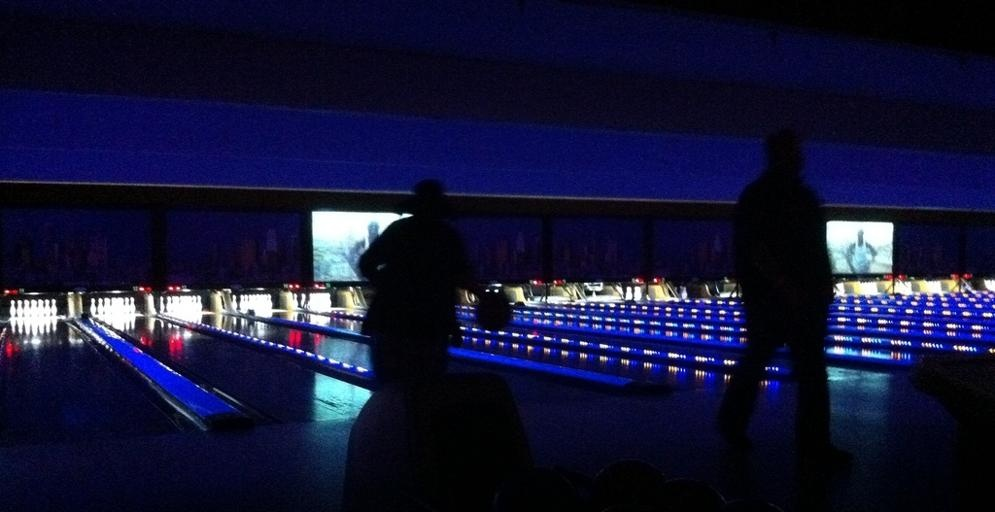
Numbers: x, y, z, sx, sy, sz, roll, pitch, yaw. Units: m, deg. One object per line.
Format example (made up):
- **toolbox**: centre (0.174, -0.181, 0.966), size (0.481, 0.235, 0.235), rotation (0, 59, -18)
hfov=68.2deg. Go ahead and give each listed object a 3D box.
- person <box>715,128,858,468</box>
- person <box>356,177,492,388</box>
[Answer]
- **person**: centre (1.945, 0.258, 4.971), size (0.815, 2.227, 0.258), rotation (0, 1, 22)
- **person**: centre (-0.555, 0.178, 5.118), size (0.804, 1.415, 0.452), rotation (-1, 1, -10)
